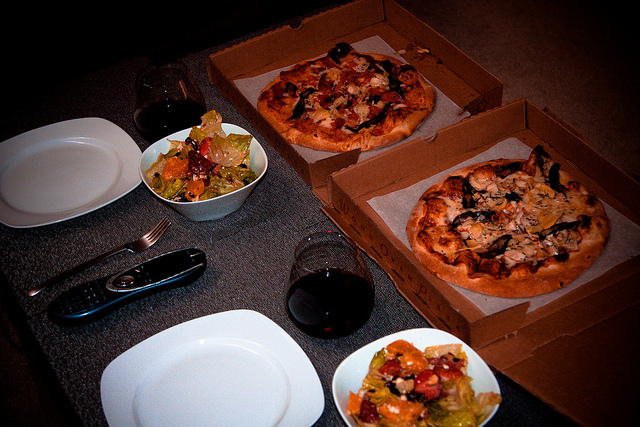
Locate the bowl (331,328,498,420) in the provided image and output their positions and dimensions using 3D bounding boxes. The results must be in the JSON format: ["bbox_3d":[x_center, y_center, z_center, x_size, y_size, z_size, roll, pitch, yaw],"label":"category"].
[{"bbox_3d":[0.182,0.339,0.976,0.318,0.074,0.197,-9,68,-5],"label":"bowl"}]

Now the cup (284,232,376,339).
[{"bbox_3d":[0.013,0.216,1.100,0.170,0.173,0.171,3,84,-27],"label":"cup"}]

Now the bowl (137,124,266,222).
[{"bbox_3d":[-0.313,-0.087,1.363,0.365,0.357,0.177,19,89,13],"label":"bowl"}]

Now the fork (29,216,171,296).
[{"bbox_3d":[-0.569,0.118,1.226,0.303,0.041,0.040,-30,55,-10],"label":"fork"}]

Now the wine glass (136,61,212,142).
[{"bbox_3d":[-0.461,-0.370,1.511,0.227,0.268,0.262,14,104,-8],"label":"wine glass"}]
